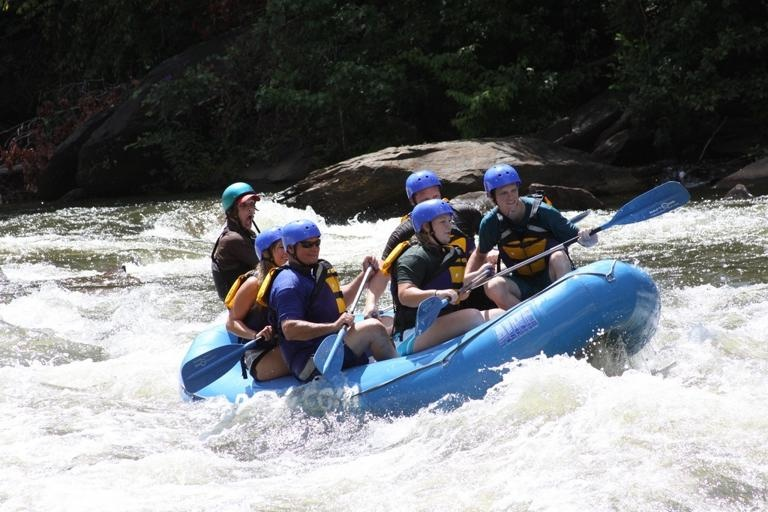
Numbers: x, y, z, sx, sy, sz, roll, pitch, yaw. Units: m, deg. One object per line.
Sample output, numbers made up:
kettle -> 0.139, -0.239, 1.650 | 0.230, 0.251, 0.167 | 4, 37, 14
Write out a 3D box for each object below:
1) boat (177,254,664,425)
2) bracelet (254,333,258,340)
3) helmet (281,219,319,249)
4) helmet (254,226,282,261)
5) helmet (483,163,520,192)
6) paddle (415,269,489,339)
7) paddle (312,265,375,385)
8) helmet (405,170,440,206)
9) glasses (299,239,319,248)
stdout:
boat -> 0.905, 1.013, 8.406 | 3.312, 0.889, 2.027 | -22, -2, 21
bracelet -> -1.403, 0.878, 8.687 | 0.058, 0.016, 0.059 | -21, -20, -32
helmet -> -0.902, -0.258, 8.461 | 0.353, 0.228, 0.274 | -22, 5, 16
helmet -> -1.273, -0.160, 8.873 | 0.352, 0.274, 0.260 | -41, -11, 14
helmet -> 1.345, -0.890, 9.091 | 0.281, 0.292, 0.368 | -6, -20, -43
paddle -> 0.763, 0.456, 8.790 | 0.219, 0.311, 2.062 | 6, 17, 31
paddle -> -0.419, 0.716, 8.638 | 0.346, 1.086, 1.147 | 5, 11, 23
helmet -> 0.455, -0.858, 9.436 | 0.345, 0.411, 0.420 | -14, -3, -29
glasses -> -0.791, -0.135, 8.383 | 0.213, 0.109, 0.057 | -4, 11, -23
